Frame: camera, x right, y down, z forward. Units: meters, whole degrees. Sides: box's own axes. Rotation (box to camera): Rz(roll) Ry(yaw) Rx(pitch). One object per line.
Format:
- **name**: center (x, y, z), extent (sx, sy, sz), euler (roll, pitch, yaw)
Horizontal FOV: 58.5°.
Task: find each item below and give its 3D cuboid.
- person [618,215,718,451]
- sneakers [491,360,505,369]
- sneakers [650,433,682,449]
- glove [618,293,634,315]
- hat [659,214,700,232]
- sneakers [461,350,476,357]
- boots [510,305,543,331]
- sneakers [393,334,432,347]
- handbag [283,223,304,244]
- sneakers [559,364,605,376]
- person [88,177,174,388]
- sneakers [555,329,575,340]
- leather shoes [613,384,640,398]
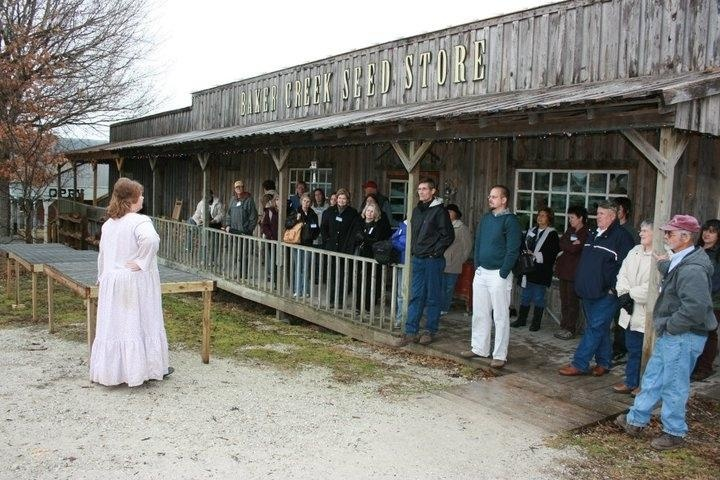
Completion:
- **person**: center (3.385, 0.975, 7.040), extent (0.776, 2.423, 0.644), euler (-7, 14, -34)
- **sneakers**: center (1.863, 1.673, 8.758), extent (0.155, 0.163, 0.097), euler (10, -7, -15)
- **sneakers**: center (3.279, 2.158, 6.968), extent (0.359, 0.168, 0.138), euler (2, 0, -13)
- **glove**: center (3.333, 0.768, 8.009), extent (0.088, 0.239, 0.169), euler (-19, -26, -23)
- **hat**: center (3.530, -0.182, 7.122), extent (0.297, 0.138, 0.208), euler (0, 1, 19)
- **sneakers**: center (1.516, 1.601, 9.092), extent (0.164, 0.075, 0.084), euler (4, -3, -18)
- **boots**: center (2.749, 1.281, 10.595), extent (0.452, 0.464, 0.378), euler (4, 0, 44)
- **sneakers**: center (0.777, 1.483, 9.701), extent (0.569, 0.263, 0.202), euler (1, 0, 3)
- **handbag**: center (-1.181, -0.130, 11.642), extent (0.180, 0.335, 0.328), euler (13, -9, -39)
- **sneakers**: center (2.921, 1.713, 8.503), extent (0.404, 0.189, 0.137), euler (5, 1, -3)
- **person**: center (-2.817, 0.537, 7.863), extent (0.851, 2.463, 0.602), euler (1, 12, 2)
- **sneakers**: center (3.162, 1.457, 10.026), extent (0.274, 0.119, 0.276), euler (7, 14, 24)
- **leather shoes**: center (3.291, 1.856, 8.002), extent (0.280, 0.132, 0.118), euler (7, 1, 12)
